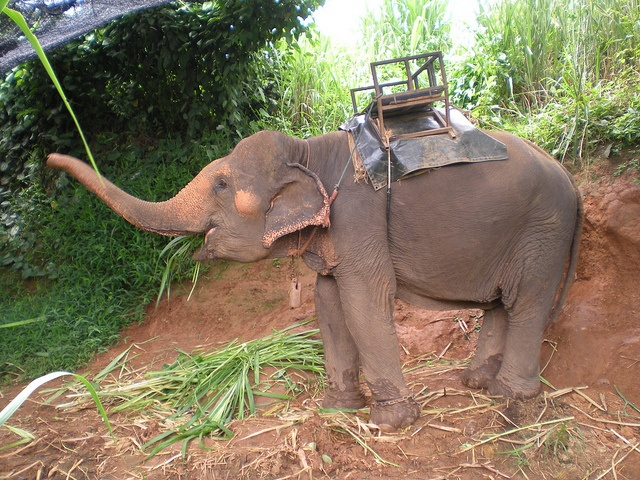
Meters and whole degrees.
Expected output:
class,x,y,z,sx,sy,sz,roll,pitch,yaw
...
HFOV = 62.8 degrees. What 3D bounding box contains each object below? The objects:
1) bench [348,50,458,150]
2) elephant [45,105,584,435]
class,x,y,z,sx,sy,sz,roll,pitch,yaw
bench,0.535,-0.867,3.190,0.495,0.499,0.412,-8,27,6
elephant,0.379,0.191,3.269,2.612,1.793,0.949,-8,27,6
